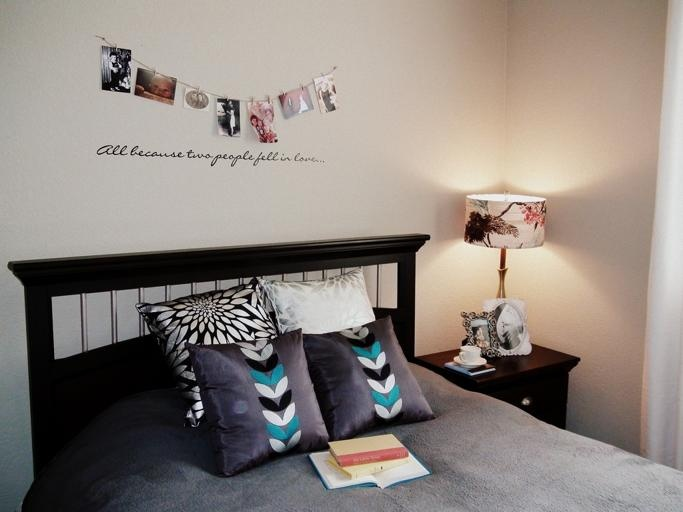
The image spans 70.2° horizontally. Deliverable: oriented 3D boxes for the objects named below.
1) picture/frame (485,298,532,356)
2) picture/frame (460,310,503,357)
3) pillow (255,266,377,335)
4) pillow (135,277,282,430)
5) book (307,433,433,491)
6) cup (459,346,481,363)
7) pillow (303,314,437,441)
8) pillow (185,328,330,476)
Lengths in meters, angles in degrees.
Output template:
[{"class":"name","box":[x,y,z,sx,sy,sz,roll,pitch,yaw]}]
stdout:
[{"class":"picture/frame","box":[0.934,0.405,2.749,0.267,0.317,0.052,-3,-10,-21]},{"class":"picture/frame","box":[0.793,0.432,2.709,0.222,0.276,0.027,-1,-8,-13]},{"class":"pillow","box":[-0.098,0.216,2.160,0.361,0.277,0.107,-8,-11,-34]},{"class":"pillow","box":[-0.530,0.347,1.969,0.154,0.517,0.520,-32,-14,36]},{"class":"book","box":[0.097,0.712,1.685,0.383,0.043,0.221,-3,14,-18]},{"class":"cup","box":[0.673,0.507,2.520,0.084,0.063,0.074,1,0,-2]},{"class":"pillow","box":[0.089,0.486,1.912,0.415,0.413,0.128,-7,-25,-34]},{"class":"pillow","box":[-0.283,0.525,1.803,0.447,0.431,0.246,-6,5,-37]}]
